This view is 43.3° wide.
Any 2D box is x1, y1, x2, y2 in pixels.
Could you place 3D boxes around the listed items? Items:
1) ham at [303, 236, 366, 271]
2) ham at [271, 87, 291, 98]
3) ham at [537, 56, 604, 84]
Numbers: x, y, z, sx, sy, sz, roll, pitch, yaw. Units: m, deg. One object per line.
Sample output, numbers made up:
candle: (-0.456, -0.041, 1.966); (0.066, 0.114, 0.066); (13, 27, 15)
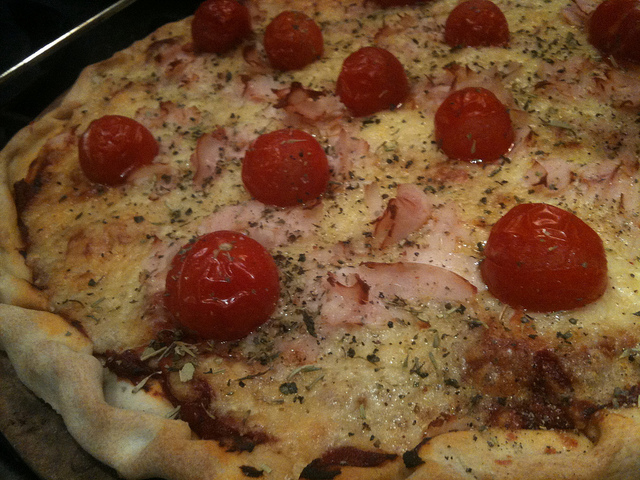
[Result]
ham: (0.071, 0.108, 5.341); (0.583, 0.053, 0.169); (-16, 59, -13)
ham: (-0.287, -1.114, 6.089); (0.129, 0.025, 0.096); (-15, 37, -1)
ham: (1.871, -1.279, 6.046); (0.423, 0.057, 0.206); (-17, 50, -13)
